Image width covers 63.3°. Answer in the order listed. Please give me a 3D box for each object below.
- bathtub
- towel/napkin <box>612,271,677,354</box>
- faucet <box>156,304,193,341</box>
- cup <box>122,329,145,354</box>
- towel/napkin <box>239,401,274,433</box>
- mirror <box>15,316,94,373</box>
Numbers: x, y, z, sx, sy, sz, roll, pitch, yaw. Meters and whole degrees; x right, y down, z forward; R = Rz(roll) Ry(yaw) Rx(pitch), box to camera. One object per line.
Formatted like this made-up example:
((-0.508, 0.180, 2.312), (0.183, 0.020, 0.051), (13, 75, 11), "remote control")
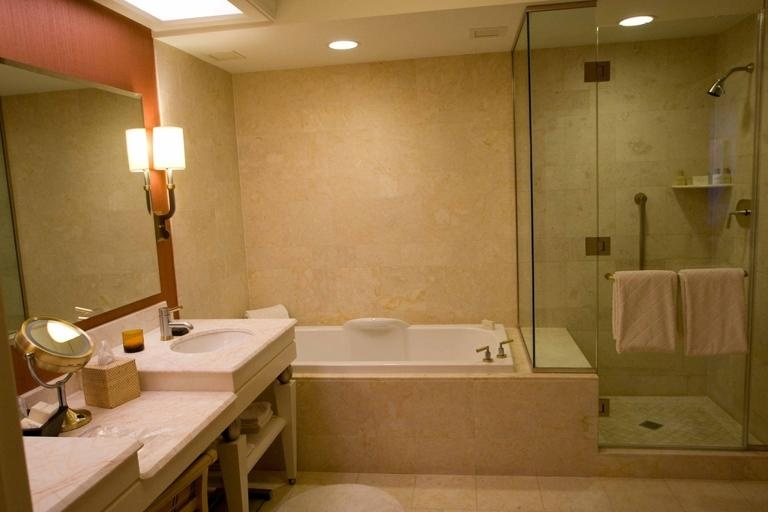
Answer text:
((0.179, 0.949, 4.446), (1.461, 0.838, 0.900), (0, 7, 7), "bathtub")
((1.618, 0.337, 3.819), (0.405, 0.481, 0.178), (-1, -1, 10), "towel/napkin")
((-1.233, 0.387, 3.662), (0.181, 0.181, 0.214), (-4, 7, -18), "faucet")
((-1.383, 0.472, 3.430), (0.115, 0.115, 0.125), (0, 2, 0), "cup")
((-0.777, 0.983, 3.796), (0.159, 0.135, 0.197), (-1, 7, -1), "towel/napkin")
((-1.551, 0.417, 2.925), (0.302, 0.232, 0.225), (-5, 8, -32), "mirror")
